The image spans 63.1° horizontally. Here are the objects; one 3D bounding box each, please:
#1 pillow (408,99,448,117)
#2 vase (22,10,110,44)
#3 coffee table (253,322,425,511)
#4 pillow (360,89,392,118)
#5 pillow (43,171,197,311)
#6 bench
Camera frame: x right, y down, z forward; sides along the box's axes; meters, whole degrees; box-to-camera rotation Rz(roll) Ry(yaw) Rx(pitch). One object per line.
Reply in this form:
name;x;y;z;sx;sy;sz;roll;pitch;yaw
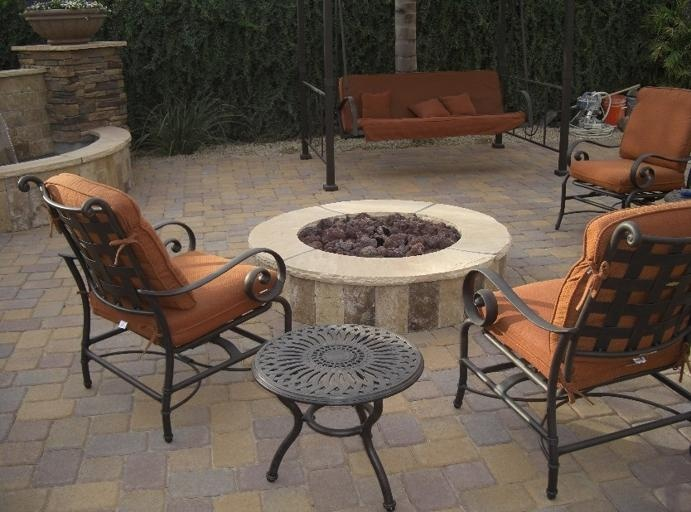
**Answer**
pillow;1.151;-1.959;7.541;0.520;0.200;0.615;-4;24;-5
vase;-3.587;-2.929;7.177;0.995;0.271;0.817;-5;17;-14
coffee table;0.074;0.681;2.749;0.938;0.522;0.829;16;35;25
pillow;0.384;-2.019;7.491;0.654;0.420;0.190;0;-4;-3
pillow;-0.882;-0.111;2.851;0.834;0.675;0.208;14;53;28
bench;1.029;-2.059;7.623;2.578;0.814;1.614;-8;25;-13
